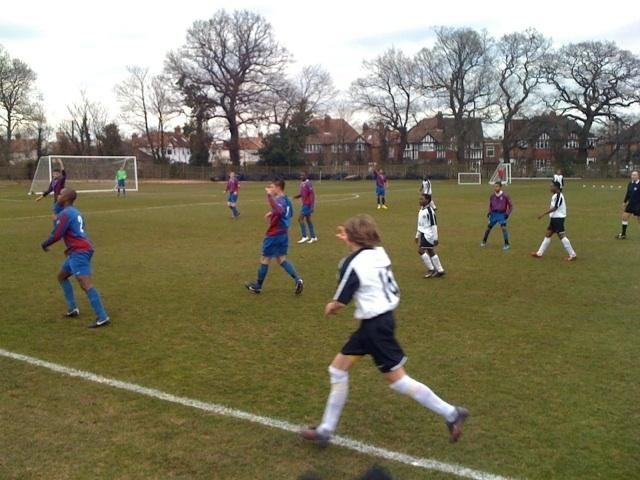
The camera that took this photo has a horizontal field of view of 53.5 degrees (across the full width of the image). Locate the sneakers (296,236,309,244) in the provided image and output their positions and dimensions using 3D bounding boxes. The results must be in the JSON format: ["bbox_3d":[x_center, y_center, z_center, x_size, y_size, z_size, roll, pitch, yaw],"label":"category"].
[{"bbox_3d":[-0.451,0.005,16.861,0.119,0.150,0.346,-6,7,40],"label":"sneakers"}]

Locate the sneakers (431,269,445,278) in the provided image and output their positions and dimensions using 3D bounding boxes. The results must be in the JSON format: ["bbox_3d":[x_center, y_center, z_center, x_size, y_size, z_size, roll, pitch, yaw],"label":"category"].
[{"bbox_3d":[2.297,0.644,12.429,0.125,0.161,0.366,-8,-2,8],"label":"sneakers"}]

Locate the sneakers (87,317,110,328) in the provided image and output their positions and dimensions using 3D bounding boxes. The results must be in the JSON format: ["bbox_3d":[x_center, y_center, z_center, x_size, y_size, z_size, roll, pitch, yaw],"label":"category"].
[{"bbox_3d":[-3.326,1.233,9.564,0.286,0.133,0.106,-5,10,-37],"label":"sneakers"}]

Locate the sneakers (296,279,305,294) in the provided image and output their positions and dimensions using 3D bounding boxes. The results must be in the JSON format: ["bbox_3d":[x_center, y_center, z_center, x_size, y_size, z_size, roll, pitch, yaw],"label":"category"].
[{"bbox_3d":[-0.354,0.847,11.230,0.104,0.271,0.121,4,28,4],"label":"sneakers"}]

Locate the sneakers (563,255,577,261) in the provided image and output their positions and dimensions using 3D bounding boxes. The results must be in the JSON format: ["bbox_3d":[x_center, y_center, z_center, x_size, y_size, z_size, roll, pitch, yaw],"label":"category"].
[{"bbox_3d":[5.572,0.398,14.122,0.104,0.145,0.301,-11,13,-39],"label":"sneakers"}]

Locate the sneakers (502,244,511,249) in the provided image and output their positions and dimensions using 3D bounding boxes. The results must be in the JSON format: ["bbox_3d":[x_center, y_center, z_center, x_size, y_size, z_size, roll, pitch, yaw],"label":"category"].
[{"bbox_3d":[4.596,0.170,15.653,0.085,0.123,0.263,-1,2,34],"label":"sneakers"}]

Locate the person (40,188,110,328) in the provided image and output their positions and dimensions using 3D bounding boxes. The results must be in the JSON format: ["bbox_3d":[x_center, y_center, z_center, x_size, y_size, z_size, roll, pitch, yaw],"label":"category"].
[{"bbox_3d":[-3.720,0.249,9.619,0.824,2.062,0.871,-6,10,-31],"label":"person"}]

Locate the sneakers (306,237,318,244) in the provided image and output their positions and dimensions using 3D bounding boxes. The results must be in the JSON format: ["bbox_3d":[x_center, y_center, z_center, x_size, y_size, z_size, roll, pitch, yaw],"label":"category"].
[{"bbox_3d":[-0.194,0.015,16.898,0.278,0.128,0.102,-27,26,-12],"label":"sneakers"}]

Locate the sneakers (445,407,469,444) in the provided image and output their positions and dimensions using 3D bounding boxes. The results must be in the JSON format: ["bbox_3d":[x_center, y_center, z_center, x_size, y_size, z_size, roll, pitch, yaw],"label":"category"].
[{"bbox_3d":[1.488,1.935,6.773,0.150,0.462,0.187,9,5,-45],"label":"sneakers"}]

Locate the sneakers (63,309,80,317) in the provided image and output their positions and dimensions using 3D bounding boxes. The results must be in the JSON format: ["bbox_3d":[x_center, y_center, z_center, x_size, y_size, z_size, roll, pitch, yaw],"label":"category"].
[{"bbox_3d":[-3.914,1.146,10.016,0.252,0.137,0.096,4,2,25],"label":"sneakers"}]
